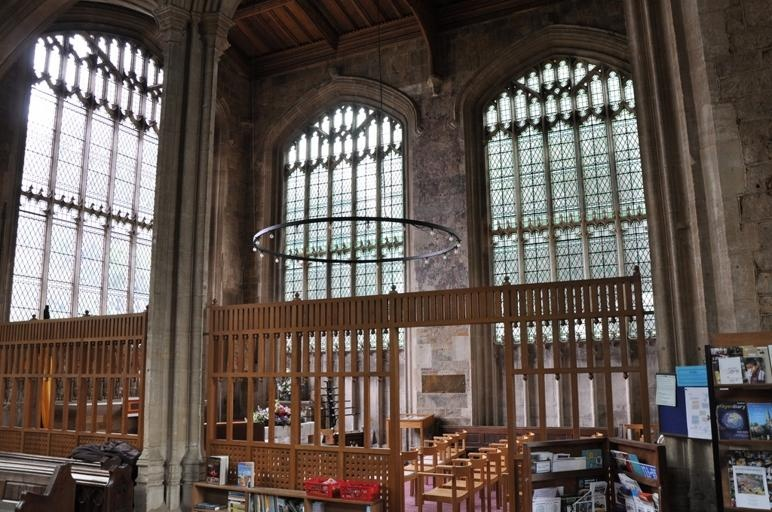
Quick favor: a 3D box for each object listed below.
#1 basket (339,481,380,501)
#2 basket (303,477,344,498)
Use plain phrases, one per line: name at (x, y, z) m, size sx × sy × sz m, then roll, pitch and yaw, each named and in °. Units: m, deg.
basket at (-0.427, 4.222, 13.511) m, size 0.480 × 0.203 × 0.365 m, roll -4°, pitch -14°, yaw 17°
basket at (-1.141, 4.232, 13.676) m, size 0.478 × 0.184 × 0.333 m, roll -2°, pitch -14°, yaw 20°
